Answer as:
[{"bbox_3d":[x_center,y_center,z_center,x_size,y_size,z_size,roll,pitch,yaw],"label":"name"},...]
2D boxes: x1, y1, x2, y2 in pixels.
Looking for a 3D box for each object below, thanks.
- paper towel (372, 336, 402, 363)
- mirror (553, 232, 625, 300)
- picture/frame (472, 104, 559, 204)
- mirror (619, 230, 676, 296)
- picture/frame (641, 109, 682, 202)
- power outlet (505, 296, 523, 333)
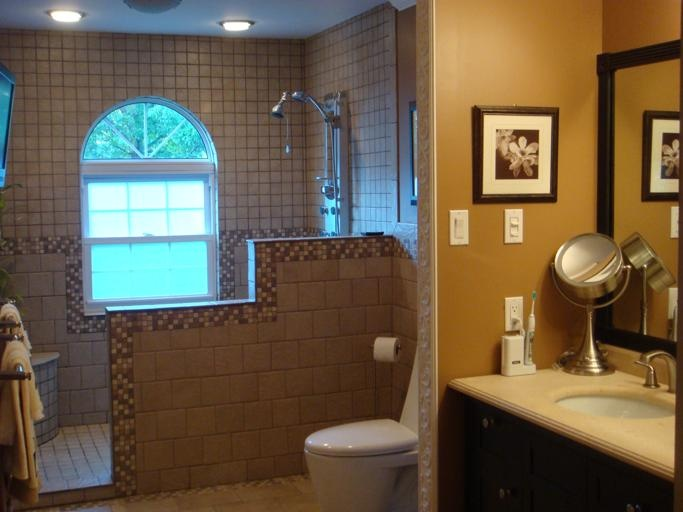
[{"bbox_3d":[0.292,0.576,3.947,0.171,0.163,0.145,-6,20,19],"label":"paper towel"},{"bbox_3d":[1.068,0.036,2.641,0.240,0.265,0.094,-34,-42,8],"label":"mirror"},{"bbox_3d":[0.714,-0.445,2.625,0.386,0.451,0.030,0,2,-12],"label":"picture/frame"},{"bbox_3d":[1.225,0.026,2.505,0.014,0.222,0.228,-5,4,-27],"label":"mirror"},{"bbox_3d":[1.259,-0.398,2.458,0.062,0.362,0.154,-5,4,-23],"label":"picture/frame"},{"bbox_3d":[0.740,0.251,2.648,0.083,0.142,0.066,-3,7,-11],"label":"power outlet"}]
